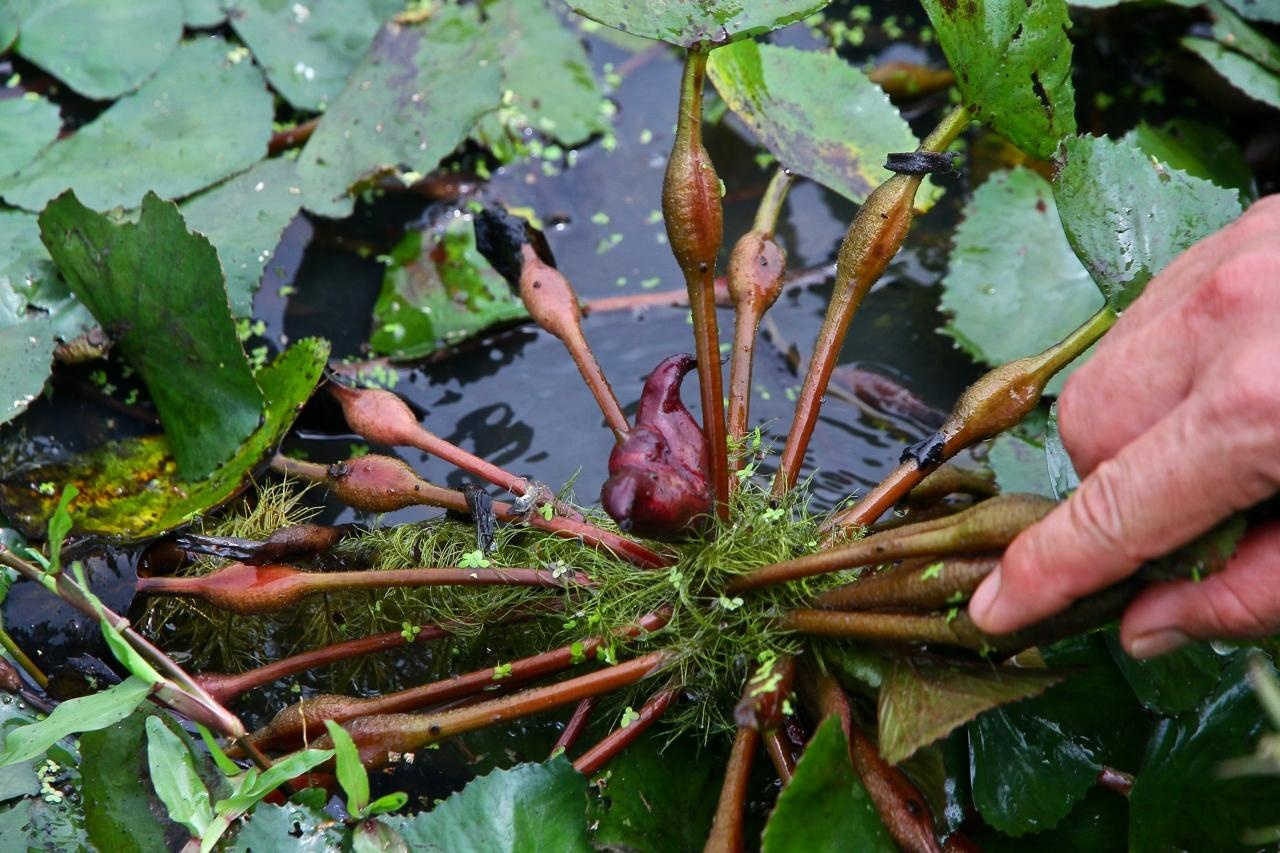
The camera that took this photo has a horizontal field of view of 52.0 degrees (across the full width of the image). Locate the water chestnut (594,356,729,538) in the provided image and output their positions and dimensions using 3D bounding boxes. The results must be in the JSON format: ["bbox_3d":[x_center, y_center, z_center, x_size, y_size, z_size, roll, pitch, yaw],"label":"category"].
[{"bbox_3d":[0.026,0.033,2.034,0.103,0.129,0.343,-4,34,12],"label":"water chestnut"}]
